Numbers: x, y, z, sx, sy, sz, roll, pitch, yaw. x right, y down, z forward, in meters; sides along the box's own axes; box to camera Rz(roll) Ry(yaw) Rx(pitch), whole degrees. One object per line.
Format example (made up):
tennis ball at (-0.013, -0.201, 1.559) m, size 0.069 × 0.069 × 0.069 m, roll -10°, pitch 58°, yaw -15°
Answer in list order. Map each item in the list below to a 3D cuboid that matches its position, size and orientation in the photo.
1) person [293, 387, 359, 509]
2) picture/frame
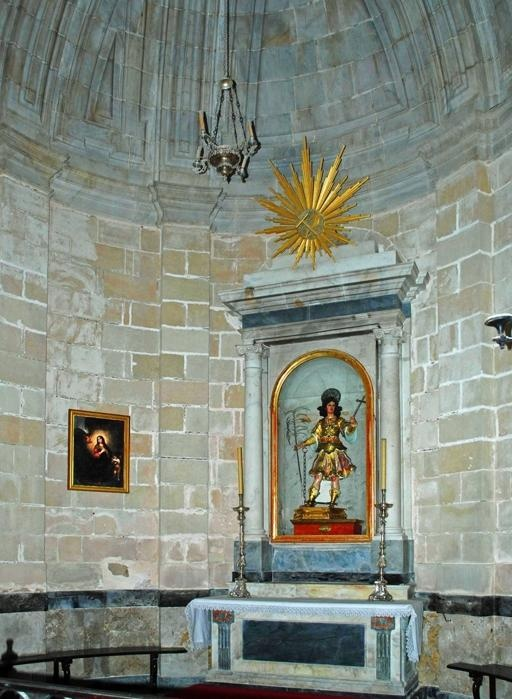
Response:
person at (0.658, 0.874, 10.203) m, size 0.533 × 1.119 × 0.426 m, roll 0°, pitch -10°, yaw 3°
picture/frame at (-1.422, 0.918, 9.920) m, size 0.690 × 0.848 × 0.059 m, roll 8°, pitch -20°, yaw -36°
